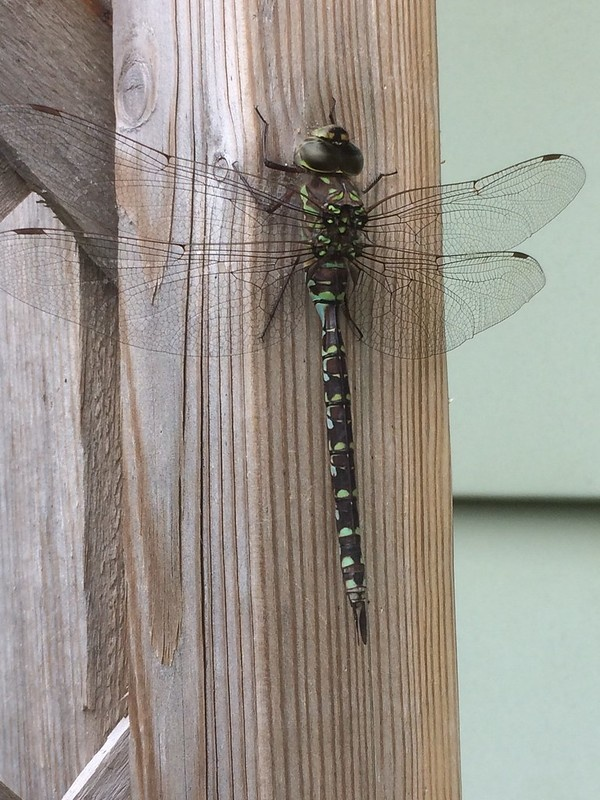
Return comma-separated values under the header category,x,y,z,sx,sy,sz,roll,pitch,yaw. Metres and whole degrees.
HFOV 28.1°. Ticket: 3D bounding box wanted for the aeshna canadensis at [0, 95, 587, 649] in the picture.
category,x,y,z,sx,sy,sz,roll,pitch,yaw
aeshna canadensis,-0.009,-0.130,1.875,0.961,0.713,0.409,17,-39,-15
